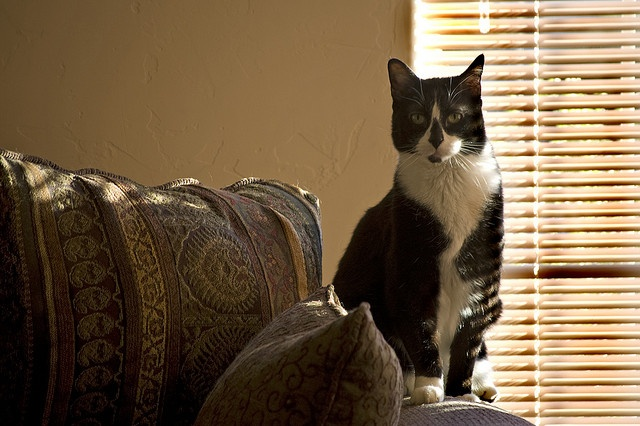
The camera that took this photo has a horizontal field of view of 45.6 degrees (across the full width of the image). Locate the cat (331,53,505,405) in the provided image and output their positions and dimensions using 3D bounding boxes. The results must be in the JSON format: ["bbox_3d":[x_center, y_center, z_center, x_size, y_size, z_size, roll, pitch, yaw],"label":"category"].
[{"bbox_3d":[0.481,0.141,3.193,0.651,1.292,1.345,3,-6,-7],"label":"cat"}]
